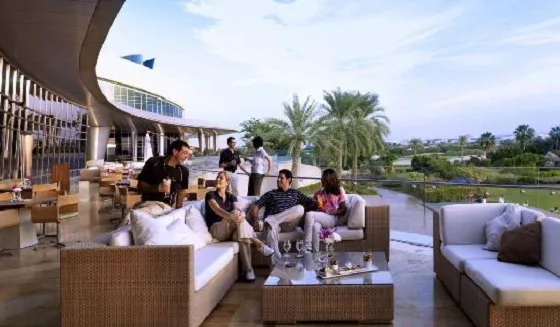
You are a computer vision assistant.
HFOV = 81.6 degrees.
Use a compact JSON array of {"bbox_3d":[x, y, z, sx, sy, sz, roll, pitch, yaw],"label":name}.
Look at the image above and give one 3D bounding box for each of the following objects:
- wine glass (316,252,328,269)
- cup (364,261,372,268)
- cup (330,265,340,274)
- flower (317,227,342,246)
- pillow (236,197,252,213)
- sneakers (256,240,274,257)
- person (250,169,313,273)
[{"bbox_3d":[0.611,1.423,4.727,0.205,0.202,0.195,-1,-4,0],"label":"wine glass"},{"bbox_3d":[1.267,1.445,4.661,0.092,0.073,0.090,1,1,0],"label":"cup"},{"bbox_3d":[0.759,1.480,4.520,0.114,0.099,0.094,0,2,-11],"label":"cup"},{"bbox_3d":[0.769,1.121,4.989,0.319,0.208,0.309,3,-5,4],"label":"flower"},{"bbox_3d":[-0.695,0.806,6.339,0.307,0.128,0.277,9,29,-9],"label":"pillow"},{"bbox_3d":[-0.232,1.424,5.420,0.172,0.179,0.414,-24,18,-36],"label":"sneakers"},{"bbox_3d":[0.085,0.918,5.935,1.137,1.675,0.935,3,-11,-8],"label":"person"}]
